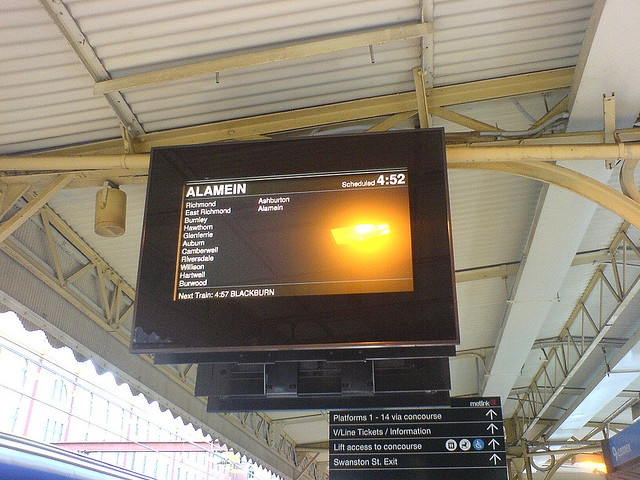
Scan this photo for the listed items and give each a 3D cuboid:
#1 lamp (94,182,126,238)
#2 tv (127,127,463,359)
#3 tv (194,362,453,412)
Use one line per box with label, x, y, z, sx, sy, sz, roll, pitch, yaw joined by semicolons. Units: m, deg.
lamp;-2.652;-0.401;9.070;0.356;0.664;0.373;-6;-34;9
tv;-0.251;0.079;7.878;3.425;2.189;0.362;-3;-26;5
tv;-0.088;1.668;8.698;2.889;0.693;0.793;-1;-6;1
